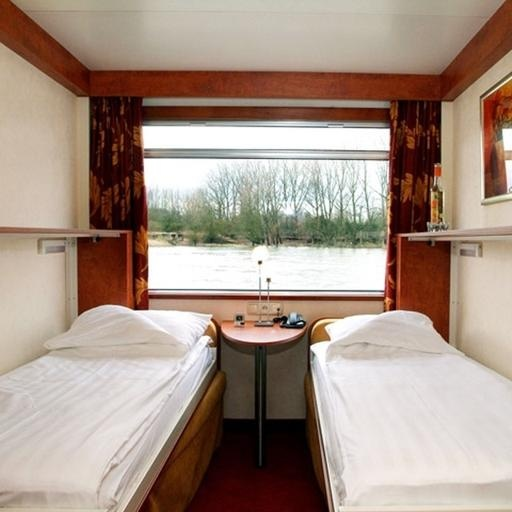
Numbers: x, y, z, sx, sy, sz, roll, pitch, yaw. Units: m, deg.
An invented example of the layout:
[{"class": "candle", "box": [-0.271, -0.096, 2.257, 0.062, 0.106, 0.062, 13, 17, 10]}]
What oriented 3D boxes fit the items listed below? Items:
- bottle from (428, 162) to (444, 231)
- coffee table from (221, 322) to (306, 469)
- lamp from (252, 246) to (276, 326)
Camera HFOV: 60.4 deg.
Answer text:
[{"class": "bottle", "box": [1.108, -0.358, 2.689, 0.073, 0.390, 0.198, 2, 7, 15]}, {"class": "coffee table", "box": [0.052, 0.855, 3.159, 0.602, 1.133, 0.698, 1, 2, 20]}, {"class": "lamp", "box": [0.046, 0.193, 3.225, 0.140, 0.536, 0.413, 0, 7, 2]}]
